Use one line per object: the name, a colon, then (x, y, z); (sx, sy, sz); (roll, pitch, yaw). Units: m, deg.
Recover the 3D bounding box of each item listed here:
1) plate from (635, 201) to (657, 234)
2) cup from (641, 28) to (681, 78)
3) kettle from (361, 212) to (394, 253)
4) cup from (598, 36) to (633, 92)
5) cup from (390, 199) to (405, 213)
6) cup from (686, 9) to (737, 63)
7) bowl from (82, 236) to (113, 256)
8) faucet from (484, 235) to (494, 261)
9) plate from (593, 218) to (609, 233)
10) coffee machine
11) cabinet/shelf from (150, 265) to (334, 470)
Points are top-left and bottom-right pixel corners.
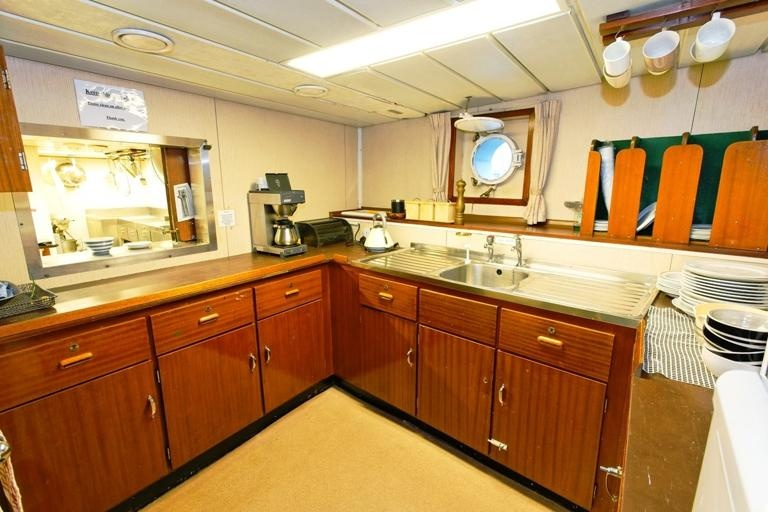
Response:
plate: (1.758, -0.252, 3.278); (0.095, 0.192, 0.187); (5, 13, 30)
cup: (1.639, -1.204, 2.896); (0.176, 0.209, 0.188); (-2, 11, 0)
kettle: (-0.011, -0.208, 4.113); (0.341, 0.308, 0.268); (-4, 17, -10)
cup: (1.421, -1.149, 2.975); (0.132, 0.325, 0.217); (7, -19, 38)
cup: (0.133, -0.440, 4.314); (0.118, 0.100, 0.113); (0, 6, 0)
cup: (1.858, -1.228, 2.762); (0.139, 0.306, 0.120); (37, 20, 35)
bowl: (-1.928, -0.070, 3.316); (0.136, 0.086, 0.131); (0, 6, 0)
faucet: (0.796, -0.068, 3.691); (0.072, 0.195, 0.174); (0, 11, 11)
plate: (1.479, -0.203, 3.337); (0.090, 0.078, 0.062); (3, 12, 26)
coffee machine: (-0.868, -0.340, 3.943); (0.281, 0.645, 0.452); (-12, 15, -39)
cabinet/shelf: (-1.118, 0.663, 3.663); (0.554, 1.117, 1.460); (11, 18, 33)
